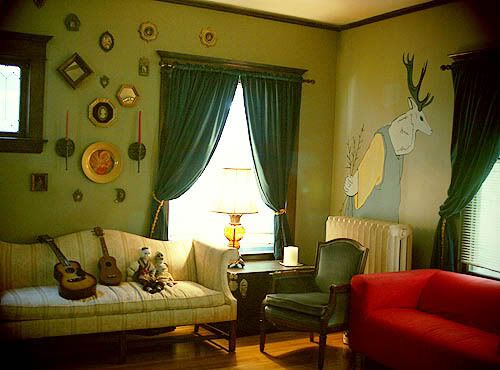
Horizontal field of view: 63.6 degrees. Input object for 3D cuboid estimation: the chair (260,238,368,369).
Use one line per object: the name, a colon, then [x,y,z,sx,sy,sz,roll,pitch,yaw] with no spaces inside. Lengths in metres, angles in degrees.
chair: [0.698,1.063,4.193,1.071,1.531,0.977,6,-6,-42]

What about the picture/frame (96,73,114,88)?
picture/frame: [-1.558,-1.113,4.332,0.107,0.145,0.019,2,0,-11]

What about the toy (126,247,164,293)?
toy: [-1.004,0.833,4.007,0.283,0.384,0.493,13,-5,-41]

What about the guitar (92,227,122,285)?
guitar: [-1.422,0.702,4.009,0.198,0.086,0.581,0,49,-34]

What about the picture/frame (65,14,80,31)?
picture/frame: [-1.844,-1.689,4.177,0.175,0.202,0.024,-1,3,-35]

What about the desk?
desk: [0.022,1.162,4.354,1.012,0.708,0.656,1,-1,-29]

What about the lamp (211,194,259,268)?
lamp: [-0.171,0.457,4.660,0.503,0.907,0.540,2,4,4]

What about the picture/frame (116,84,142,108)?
picture/frame: [-1.337,-0.983,4.407,0.021,0.203,0.176,-1,-46,52]

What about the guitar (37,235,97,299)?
guitar: [-1.666,0.768,3.742,0.292,0.576,0.741,3,0,-43]

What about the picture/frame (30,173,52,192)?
picture/frame: [-2.149,-0.028,4.132,0.171,0.220,0.020,0,0,-34]
